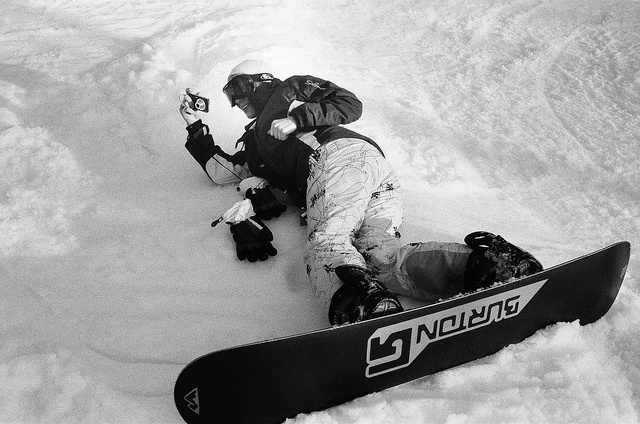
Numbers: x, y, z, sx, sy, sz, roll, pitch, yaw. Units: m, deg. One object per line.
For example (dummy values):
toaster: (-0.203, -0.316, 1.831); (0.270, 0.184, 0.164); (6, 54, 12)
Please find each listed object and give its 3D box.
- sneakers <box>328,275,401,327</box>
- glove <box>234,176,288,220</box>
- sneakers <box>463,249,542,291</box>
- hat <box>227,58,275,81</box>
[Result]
sneakers: (0.204, 0.449, 2.940); (0.314, 0.214, 0.121); (3, 74, -48)
glove: (-0.391, -0.101, 3.848); (0.244, 0.106, 0.297); (-22, 48, -26)
sneakers: (0.956, 0.301, 3.055); (0.274, 0.421, 0.219); (4, 80, -36)
hat: (-0.480, -0.978, 3.972); (0.217, 0.164, 0.176); (-21, 91, -16)
